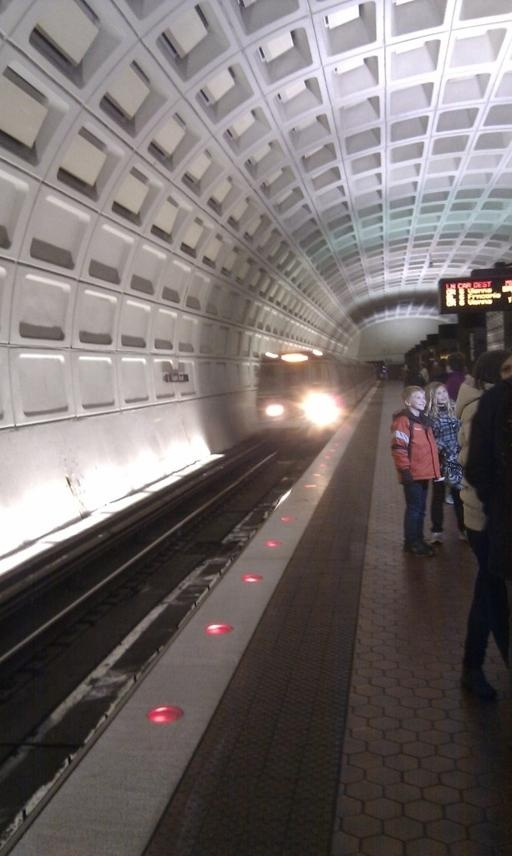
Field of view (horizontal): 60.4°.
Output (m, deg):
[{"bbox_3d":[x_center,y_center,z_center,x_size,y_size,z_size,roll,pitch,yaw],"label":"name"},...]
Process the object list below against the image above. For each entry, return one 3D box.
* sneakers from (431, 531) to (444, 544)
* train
[{"bbox_3d":[2.015,1.183,4.935,0.092,0.128,0.040,-5,-39,14],"label":"sneakers"},{"bbox_3d":[2.954,-1.591,21.455,2.355,5.469,12.596,-9,-7,24],"label":"train"}]
